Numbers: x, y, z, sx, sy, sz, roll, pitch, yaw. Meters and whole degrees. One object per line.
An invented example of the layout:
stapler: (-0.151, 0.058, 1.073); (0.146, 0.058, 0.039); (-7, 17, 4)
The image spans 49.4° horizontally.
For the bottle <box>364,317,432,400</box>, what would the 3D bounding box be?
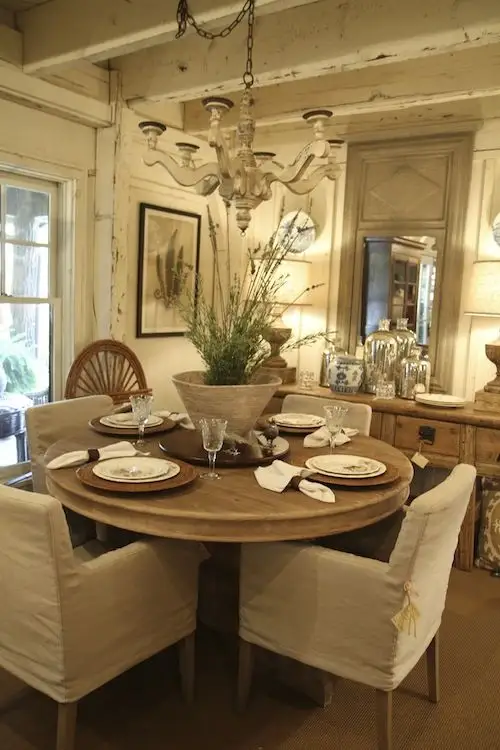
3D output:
bottle: (0.884, -0.108, 3.359); (0.455, 0.579, 0.470); (0, 2, 0)

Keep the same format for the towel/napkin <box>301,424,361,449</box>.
towel/napkin: (0.301, 0.240, 2.100); (0.099, 0.027, 0.175); (6, 11, 32)

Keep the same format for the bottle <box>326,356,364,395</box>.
bottle: (0.598, -0.006, 3.397); (0.225, 0.228, 0.227); (5, 5, 30)

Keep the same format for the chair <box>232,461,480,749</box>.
chair: (0.310, 0.570, 1.736); (0.659, 0.847, 0.620); (3, 0, 31)

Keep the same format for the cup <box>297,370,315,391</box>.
cup: (0.378, 0.036, 3.644); (0.115, 0.112, 0.115); (0, 8, 0)

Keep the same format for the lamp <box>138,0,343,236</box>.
lamp: (-0.048, -1.359, 2.853); (0.926, 1.434, 1.025); (-1, 22, -6)
